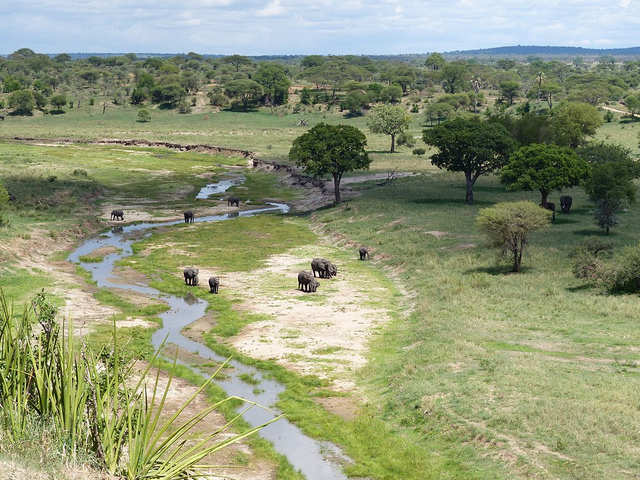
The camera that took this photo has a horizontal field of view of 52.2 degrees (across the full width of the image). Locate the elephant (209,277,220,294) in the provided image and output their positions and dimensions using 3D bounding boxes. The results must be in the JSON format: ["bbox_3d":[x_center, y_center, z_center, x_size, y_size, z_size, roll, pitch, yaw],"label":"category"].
[{"bbox_3d":[-8.888,3.778,54.169,0.676,1.322,0.859,-1,10,-15],"label":"elephant"}]

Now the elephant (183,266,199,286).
[{"bbox_3d":[-11.204,3.189,56.432,0.864,1.447,1.271,-4,10,-29],"label":"elephant"}]

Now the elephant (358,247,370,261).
[{"bbox_3d":[4.436,1.426,67.101,0.871,1.337,1.558,7,10,26],"label":"elephant"}]

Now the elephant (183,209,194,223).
[{"bbox_3d":[-16.947,-2.959,84.052,1.159,1.350,3.598,0,7,-12],"label":"elephant"}]

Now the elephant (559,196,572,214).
[{"bbox_3d":[29.806,-4.233,79.150,1.118,2.080,2.109,4,9,10],"label":"elephant"}]

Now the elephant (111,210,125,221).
[{"bbox_3d":[-25.826,-3.069,82.489,1.473,1.319,1.417,0,9,-12],"label":"elephant"}]
